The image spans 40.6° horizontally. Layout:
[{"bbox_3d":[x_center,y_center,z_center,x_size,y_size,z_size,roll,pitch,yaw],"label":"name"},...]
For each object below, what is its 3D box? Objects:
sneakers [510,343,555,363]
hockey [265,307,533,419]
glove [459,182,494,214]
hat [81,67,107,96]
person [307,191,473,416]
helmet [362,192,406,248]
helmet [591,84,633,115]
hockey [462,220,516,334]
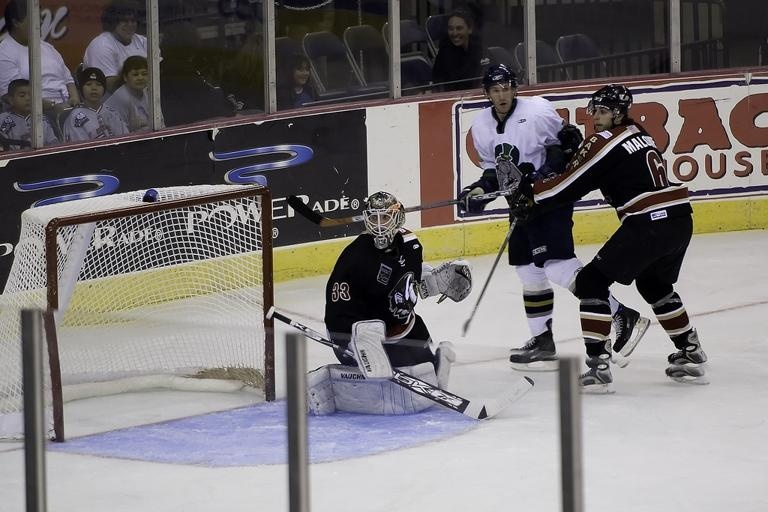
[{"bbox_3d":[0.789,0.524,5.497,0.182,0.073,0.163,2,-2,-10],"label":"sneakers"},{"bbox_3d":[0.092,0.527,4.745,1.262,0.417,0.316,0,7,25],"label":"hockey"},{"bbox_3d":[0.470,-0.309,5.662,0.181,0.071,0.176,-4,17,33],"label":"glove"},{"bbox_3d":[-1.855,-1.128,6.683,0.151,0.130,0.147,-9,-19,-13],"label":"hat"},{"bbox_3d":[0.012,0.212,5.038,0.662,1.045,1.144,12,23,27],"label":"person"},{"bbox_3d":[-0.002,-0.187,4.939,0.221,0.228,0.261,-1,15,10],"label":"helmet"},{"bbox_3d":[1.144,-0.796,5.254,0.199,0.137,0.142,5,6,10],"label":"helmet"},{"bbox_3d":[0.625,0.008,5.857,0.070,0.146,1.155,-19,32,36],"label":"hockey"}]
